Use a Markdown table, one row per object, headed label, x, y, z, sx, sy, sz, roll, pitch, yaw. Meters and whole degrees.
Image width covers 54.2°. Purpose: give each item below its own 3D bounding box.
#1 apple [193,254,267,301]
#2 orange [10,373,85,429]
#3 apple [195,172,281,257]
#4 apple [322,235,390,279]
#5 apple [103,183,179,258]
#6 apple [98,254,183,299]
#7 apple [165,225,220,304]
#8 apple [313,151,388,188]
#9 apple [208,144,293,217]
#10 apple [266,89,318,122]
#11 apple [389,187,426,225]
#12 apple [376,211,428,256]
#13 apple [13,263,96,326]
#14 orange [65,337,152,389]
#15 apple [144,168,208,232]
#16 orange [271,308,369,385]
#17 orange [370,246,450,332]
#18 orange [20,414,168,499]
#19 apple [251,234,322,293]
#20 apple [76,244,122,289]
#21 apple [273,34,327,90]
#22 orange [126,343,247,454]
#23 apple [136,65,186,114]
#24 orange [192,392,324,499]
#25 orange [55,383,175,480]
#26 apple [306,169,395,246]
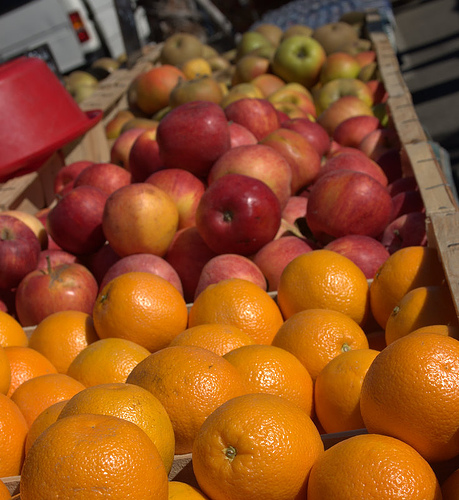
| label | x | y | z | sx | sy | sz | roll | pitch | yaw |
| --- | --- | --- | --- | --- | --- | --- | --- | --- | --- |
| apple | 0.008 | 0.047 | 1.349 | 0.147 | 0.152 | 0.157 | 23 | 22 | 32 |
| orange | -0.343 | 0.281 | 0.843 | 0.093 | 0.090 | 0.109 | 13 | 72 | -9 |
| apple | 0.024 | -0.103 | 1.504 | 0.253 | 0.253 | 0.260 | 5 | 2 | 1 |
| apple | 0.400 | 0.031 | 1.373 | 0.138 | 0.157 | 0.137 | -16 | 2 | -21 |
| apple | -0.305 | -0.093 | 1.530 | 0.246 | 0.275 | 0.235 | -12 | 30 | -30 |
| apple | -0.274 | 0.054 | 1.379 | 0.165 | 0.164 | 0.164 | 2 | 15 | -2 |
| apple | -0.137 | 0.039 | 1.512 | 0.234 | 0.273 | 0.231 | 0 | 5 | -14 |
| apple | 0.495 | -0.333 | 1.787 | 0.188 | 0.171 | 0.171 | -8 | 14 | -36 |
| apple | 0.091 | -0.295 | 1.694 | 0.258 | 0.265 | 0.263 | -30 | 42 | -22 |
| apple | 0.396 | -0.907 | 2.747 | 0.214 | 0.202 | 0.225 | 43 | 37 | 9 |
| apple | 0.625 | -0.176 | 1.608 | 0.118 | 0.146 | 0.124 | 17 | 30 | 24 |
| apple | 0.552 | -0.048 | 1.463 | 0.160 | 0.137 | 0.140 | -6 | 3 | 45 |
| apple | -0.510 | 0.136 | 1.473 | 0.246 | 0.259 | 0.249 | -2 | -2 | 3 |
| orange | -0.231 | 0.188 | 0.865 | 0.111 | 0.107 | 0.111 | -15 | 37 | -37 |
| apple | -0.164 | -0.217 | 1.677 | 0.226 | 0.230 | 0.224 | 9 | 19 | 7 |
| orange | 0.201 | 0.188 | 0.976 | 0.186 | 0.153 | 0.149 | 24 | 0 | -43 |
| orange | 0.450 | 0.082 | 1.111 | 0.191 | 0.215 | 0.180 | 4 | -3 | -16 |
| orange | -0.154 | 0.200 | 0.531 | 0.119 | 0.108 | 0.113 | 7 | -4 | 2 |
| apple | 0.191 | 0.058 | 1.449 | 0.178 | 0.198 | 0.169 | -1 | 27 | -36 |
| apple | -0.442 | 0.077 | 1.636 | 0.152 | 0.147 | 0.176 | 9 | 75 | -32 |
| apple | 0.488 | -1.291 | 3.207 | 0.326 | 0.348 | 0.338 | -38 | 86 | 7 |
| orange | -0.062 | 0.208 | 0.761 | 0.208 | 0.144 | 0.160 | 6 | 10 | 37 |
| apple | -0.443 | -1.057 | 2.976 | 0.282 | 0.274 | 0.314 | 13 | 9 | 18 |
| orange | 0.033 | 0.260 | 0.656 | 0.165 | 0.142 | 0.140 | -15 | 17 | -4 |
| orange | -0.140 | 0.221 | 0.624 | 0.140 | 0.137 | 0.128 | 8 | 73 | 0 |
| apple | 0.426 | -0.208 | 1.541 | 0.285 | 0.286 | 0.297 | 11 | 33 | 21 |
